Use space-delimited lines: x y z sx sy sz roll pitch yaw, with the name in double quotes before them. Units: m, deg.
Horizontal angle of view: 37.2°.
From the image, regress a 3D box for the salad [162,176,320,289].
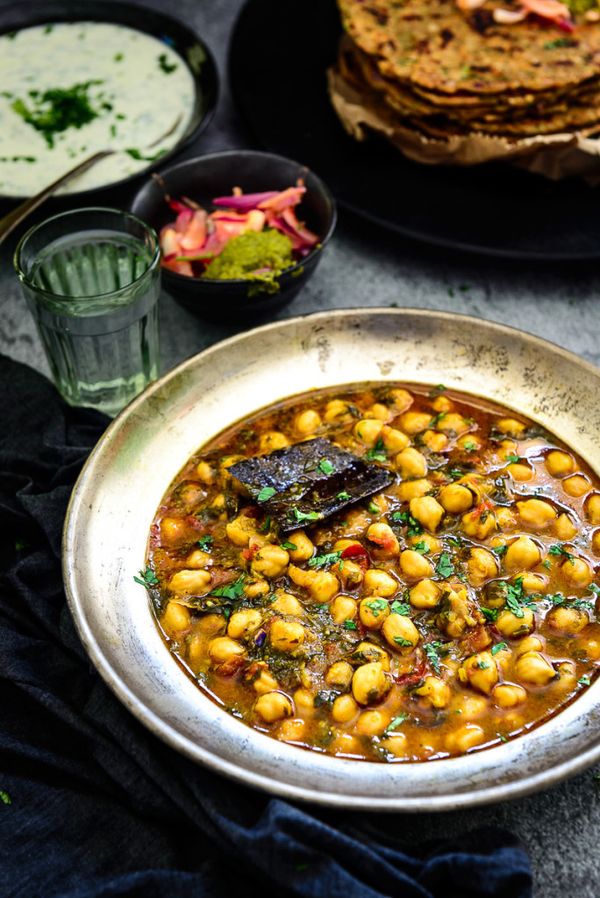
"salad" -0.214 -0.758 3.222 0.576 0.194 0.582 -6 56 -8
